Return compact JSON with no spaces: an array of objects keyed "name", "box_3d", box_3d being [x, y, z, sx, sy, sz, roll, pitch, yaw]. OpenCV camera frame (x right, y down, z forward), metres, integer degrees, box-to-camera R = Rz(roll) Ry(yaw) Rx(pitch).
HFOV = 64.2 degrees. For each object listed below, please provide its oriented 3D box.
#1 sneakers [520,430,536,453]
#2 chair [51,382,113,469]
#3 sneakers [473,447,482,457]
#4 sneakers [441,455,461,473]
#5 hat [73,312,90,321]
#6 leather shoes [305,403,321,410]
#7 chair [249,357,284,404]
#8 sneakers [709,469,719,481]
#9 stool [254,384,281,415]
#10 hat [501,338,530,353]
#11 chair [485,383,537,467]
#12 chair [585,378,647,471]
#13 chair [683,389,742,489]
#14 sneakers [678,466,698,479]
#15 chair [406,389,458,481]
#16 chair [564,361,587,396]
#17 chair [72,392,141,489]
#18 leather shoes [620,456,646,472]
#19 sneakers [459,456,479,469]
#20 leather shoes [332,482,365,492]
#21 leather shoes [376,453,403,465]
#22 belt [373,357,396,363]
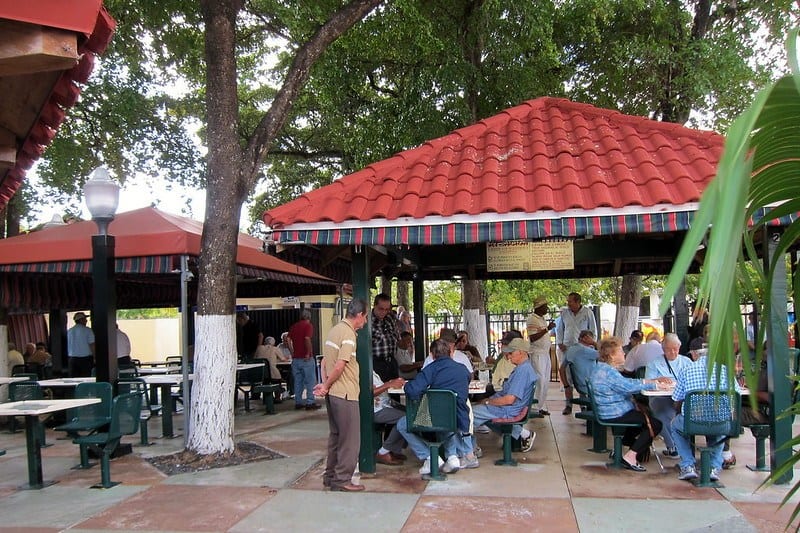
[{"name":"sneakers","box_3d":[2.075,2.874,10.403,0.165,0.428,0.151,19,-15,-18]},{"name":"chair","box_3d":[-4.788,2.420,9.599,0.691,1.217,0.744,-2,0,14]},{"name":"sneakers","box_3d":[1.209,2.889,9.927,0.131,0.163,0.375,-3,-17,8]},{"name":"sneakers","box_3d":[0.730,2.849,9.169,0.170,0.162,0.326,-1,-2,4]},{"name":"hat","box_3d":[-7.033,1.089,14.056,0.413,0.145,0.475,-2,-6,-4]},{"name":"leather shoes","box_3d":[-2.009,3.299,15.033,0.136,0.183,0.418,2,2,33]},{"name":"chair","box_3d":[-3.074,2.714,14.745,0.521,0.932,0.699,-3,-10,20]},{"name":"sneakers","box_3d":[4.230,2.822,8.617,0.087,0.100,0.245,0,-2,20]},{"name":"stool","box_3d":[-3.087,3.114,14.909,0.697,0.730,0.548,-1,-10,2]},{"name":"hat","box_3d":[2.030,1.398,11.227,0.389,0.212,0.285,0,-8,11]},{"name":"chair","box_3d":[1.651,2.355,9.852,0.752,1.314,0.668,0,-10,7]},{"name":"chair","box_3d":[3.356,2.348,9.937,0.919,1.265,1.715,-1,0,15]},{"name":"chair","box_3d":[4.095,2.270,8.633,0.794,1.264,0.862,-1,-3,12]},{"name":"sneakers","box_3d":[3.927,2.828,8.709,0.119,0.148,0.310,0,-4,11]},{"name":"chair","box_3d":[0.503,2.316,9.151,0.700,1.301,0.781,0,2,1]},{"name":"chair","box_3d":[3.337,2.132,11.991,0.332,0.679,0.707,-1,0,15]},{"name":"chair","box_3d":[-4.270,2.531,9.320,0.958,1.262,0.930,-14,-13,33]},{"name":"leather shoes","box_3d":[3.364,2.849,9.200,0.280,0.106,0.148,8,-7,27]},{"name":"sneakers","box_3d":[1.007,2.888,9.409,0.311,0.143,0.130,3,-7,-2]},{"name":"leather shoes","box_3d":[-0.721,2.976,8.583,0.357,0.160,0.172,-1,-7,0]},{"name":"leather shoes","box_3d":[-0.151,2.919,9.714,0.412,0.174,0.266,-1,-1,-25]},{"name":"belt","box_3d":[-0.265,1.585,10.850,0.099,0.128,0.481,-1,-1,39]}]
